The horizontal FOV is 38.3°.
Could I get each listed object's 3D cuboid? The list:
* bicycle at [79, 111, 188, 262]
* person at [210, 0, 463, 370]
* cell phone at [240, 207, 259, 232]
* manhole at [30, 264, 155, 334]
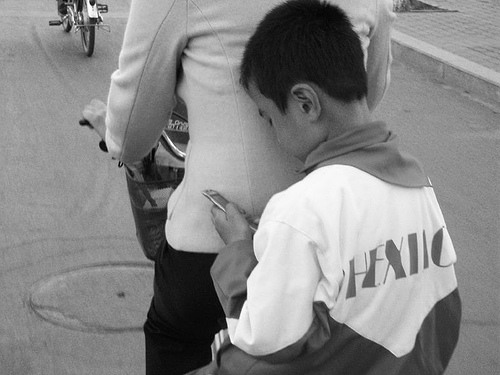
[{"bbox_3d":[-0.574,-0.074,3.861,0.668,0.822,0.467,-4,21,-19],"label":"bicycle"},{"bbox_3d":[0.408,0.015,2.881,0.922,1.221,0.766,2,27,-7],"label":"person"},{"bbox_3d":[-0.002,0.135,3.035,0.073,0.027,0.074,47,7,-5],"label":"cell phone"},{"bbox_3d":[-1.107,0.730,5.041,0.830,0.061,0.759,8,33,-1],"label":"manhole"}]
